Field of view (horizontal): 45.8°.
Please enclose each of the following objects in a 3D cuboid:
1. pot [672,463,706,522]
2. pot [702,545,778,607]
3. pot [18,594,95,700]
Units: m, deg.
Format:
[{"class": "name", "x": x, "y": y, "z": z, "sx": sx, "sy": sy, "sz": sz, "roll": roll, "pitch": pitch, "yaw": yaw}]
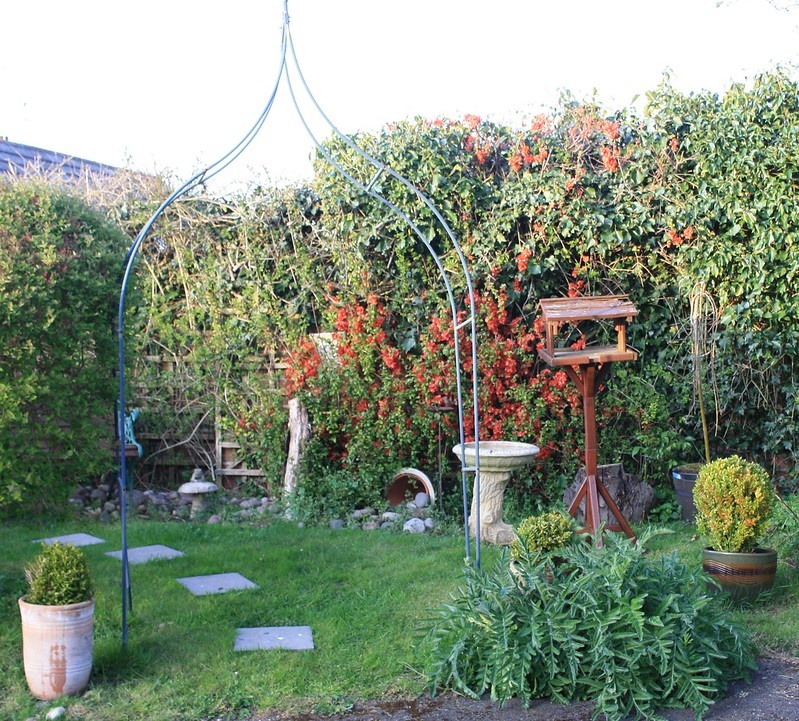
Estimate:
[{"class": "pot", "x": 2.659, "y": 1.240, "z": 8.638, "sx": 0.301, "sy": 0.441, "sz": 0.338, "roll": 0, "pitch": 4, "yaw": 24}, {"class": "pot", "x": 2.434, "y": 1.523, "z": 6.739, "sx": 0.435, "sy": 0.411, "sz": 0.507, "roll": -3, "pitch": -2, "yaw": -4}, {"class": "pot", "x": -2.089, "y": 1.692, "z": 5.802, "sx": 0.430, "sy": 0.686, "sz": 0.398, "roll": 6, "pitch": 15, "yaw": -2}]
